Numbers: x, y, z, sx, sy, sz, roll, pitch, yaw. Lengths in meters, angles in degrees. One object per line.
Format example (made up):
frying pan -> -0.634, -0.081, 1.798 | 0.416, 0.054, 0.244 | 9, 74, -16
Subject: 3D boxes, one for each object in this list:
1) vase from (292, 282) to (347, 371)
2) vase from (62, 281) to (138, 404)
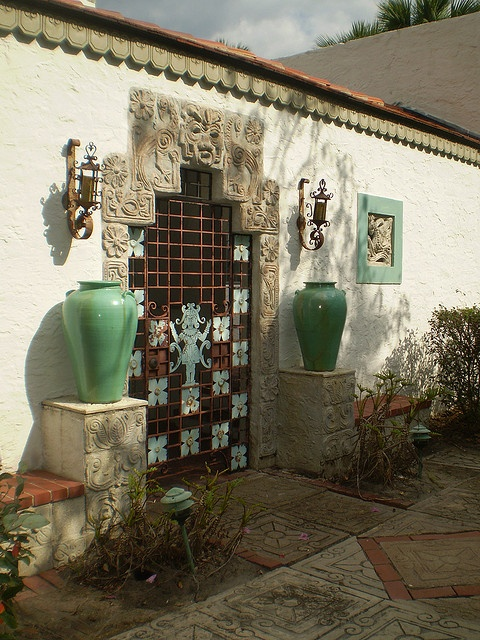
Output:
vase -> 0.689, 0.084, 4.765 | 0.453, 0.603, 0.273 | 2, -1, 12
vase -> -0.825, 0.135, 3.227 | 0.416, 0.698, 0.278 | 2, -1, -26
